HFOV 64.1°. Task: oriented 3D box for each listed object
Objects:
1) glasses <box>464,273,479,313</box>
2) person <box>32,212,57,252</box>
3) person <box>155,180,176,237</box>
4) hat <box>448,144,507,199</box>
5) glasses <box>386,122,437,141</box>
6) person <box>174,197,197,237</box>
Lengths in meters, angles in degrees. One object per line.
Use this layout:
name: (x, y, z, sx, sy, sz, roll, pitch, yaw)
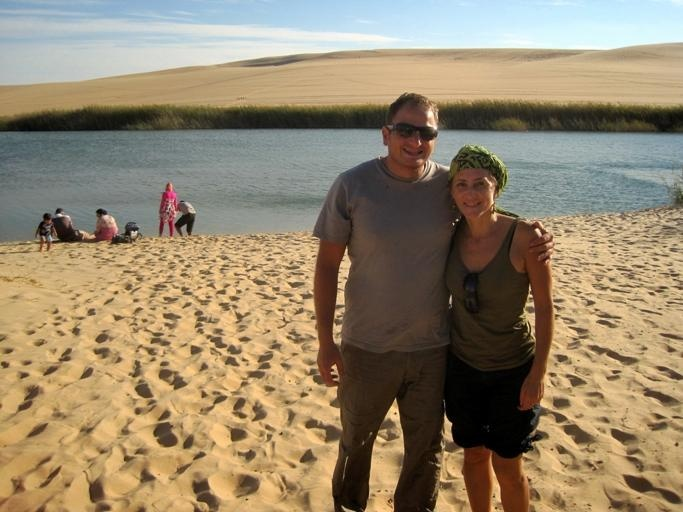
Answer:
glasses: (0.786, 0.219, 3.288, 0.108, 0.228, 0.086, 7, 23, 18)
person: (-5.932, -0.515, 10.899, 0.333, 0.795, 1.485, -12, 24, -27)
person: (-3.929, -1.021, 12.249, 0.446, 1.385, 1.635, -7, 22, -16)
hat: (0.887, -0.566, 3.446, 0.294, 0.298, 0.354, 15, 1, 18)
glasses: (0.439, -0.777, 3.375, 0.310, 0.104, 0.124, 2, 21, 4)
person: (-3.540, -0.844, 12.239, 0.415, 0.822, 0.673, -8, 23, -18)
